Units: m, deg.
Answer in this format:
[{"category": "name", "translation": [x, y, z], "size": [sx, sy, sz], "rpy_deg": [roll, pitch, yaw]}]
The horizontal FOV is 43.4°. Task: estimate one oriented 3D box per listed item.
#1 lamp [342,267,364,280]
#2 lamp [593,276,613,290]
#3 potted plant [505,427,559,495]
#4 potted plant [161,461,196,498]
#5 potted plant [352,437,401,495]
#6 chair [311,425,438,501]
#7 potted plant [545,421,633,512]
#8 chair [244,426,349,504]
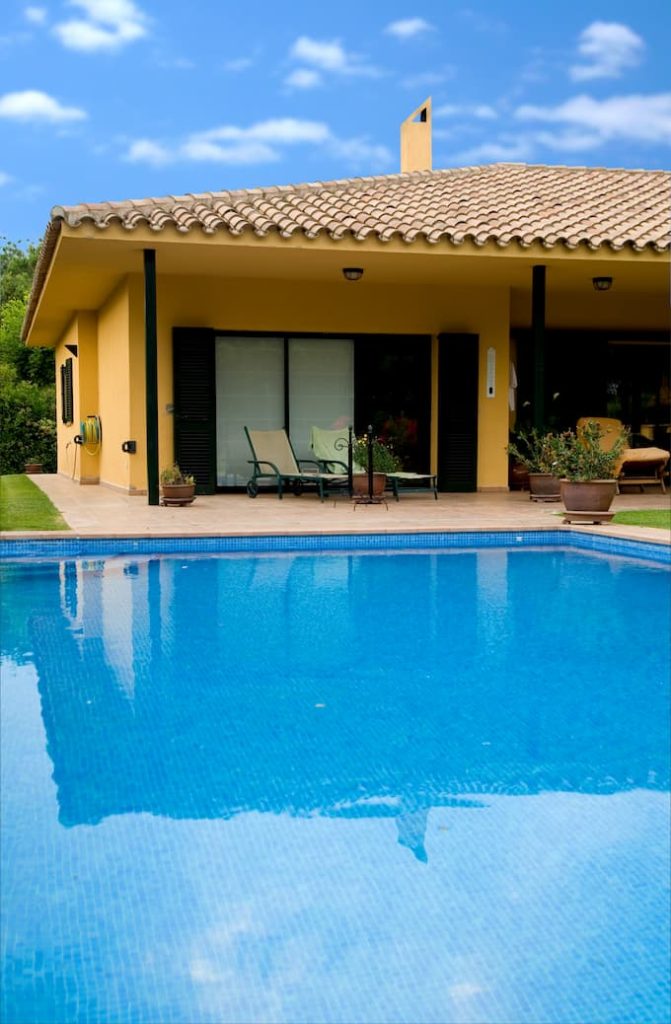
[{"category": "lamp", "translation": [0.247, -3.553, 12.542], "size": [0.294, 0.121, 0.463], "rpy_deg": [-1, 4, -6]}, {"category": "lamp", "translation": [4.357, -3.766, 13.837], "size": [0.269, 0.230, 0.273], "rpy_deg": [-1, 1, -35]}, {"category": "potted plant", "translation": [3.226, -0.742, 12.818], "size": [0.867, 1.086, 0.751], "rpy_deg": [-2, 4, 25]}, {"category": "potted plant", "translation": [-2.173, -0.435, 11.709], "size": [0.470, 0.616, 0.490], "rpy_deg": [-1, -2, -3]}, {"category": "potted plant", "translation": [0.665, -0.757, 12.604], "size": [0.728, 1.124, 0.945], "rpy_deg": [-3, 5, -7]}, {"category": "chair", "translation": [0.542, -0.829, 13.500], "size": [1.862, 1.263, 1.113], "rpy_deg": [2, 2, 40]}, {"category": "potted plant", "translation": [2.915, -0.375, 9.789], "size": [0.780, 1.074, 0.753], "rpy_deg": [-4, -13, 10]}, {"category": "chair", "translation": [-0.808, -0.681, 13.168], "size": [1.291, 0.873, 0.680], "rpy_deg": [6, 1, 8]}]
